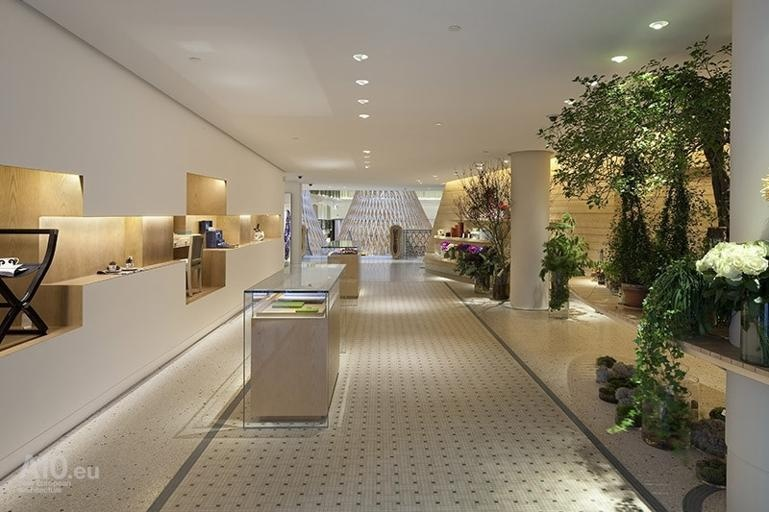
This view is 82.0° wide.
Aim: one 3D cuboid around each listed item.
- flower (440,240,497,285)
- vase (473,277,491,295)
[{"bbox_3d":[2.378,0.188,11.776,1.099,0.752,1.106,0,3,5],"label":"flower"},{"bbox_3d":[2.547,0.815,11.585,0.487,0.464,0.365,-1,-6,5],"label":"vase"}]
